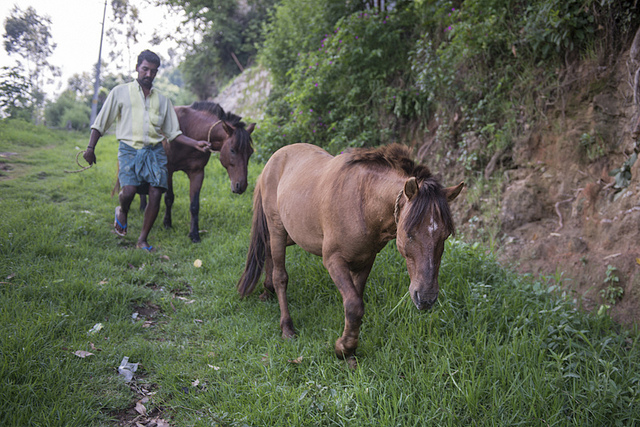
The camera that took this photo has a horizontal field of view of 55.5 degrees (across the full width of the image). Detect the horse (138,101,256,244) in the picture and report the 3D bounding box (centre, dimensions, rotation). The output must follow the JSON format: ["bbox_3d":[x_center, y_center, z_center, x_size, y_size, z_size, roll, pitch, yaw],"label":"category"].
[{"bbox_3d":[-2.854,-1.032,12.060,3.459,2.848,0.929,21,17,30],"label":"horse"}]
